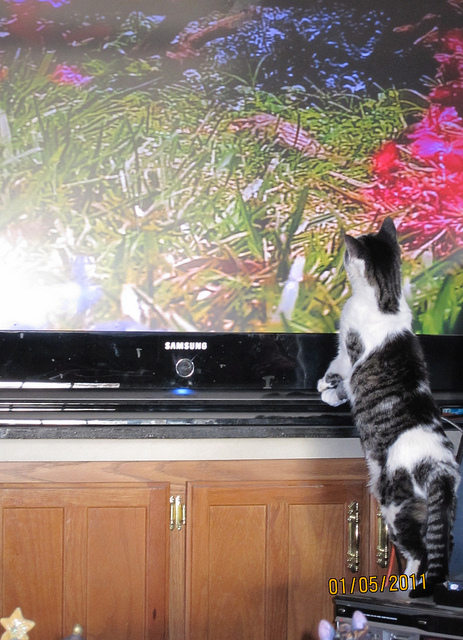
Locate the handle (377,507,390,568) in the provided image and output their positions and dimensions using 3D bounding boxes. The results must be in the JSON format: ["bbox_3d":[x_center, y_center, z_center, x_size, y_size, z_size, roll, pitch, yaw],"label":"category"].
[{"bbox_3d":[0.375,0.539,1.480,0.031,0.145,0.020,-1,-6,3],"label":"handle"}]

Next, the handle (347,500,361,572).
[{"bbox_3d":[0.303,0.533,1.484,0.036,0.169,0.010,2,-7,-24],"label":"handle"}]
